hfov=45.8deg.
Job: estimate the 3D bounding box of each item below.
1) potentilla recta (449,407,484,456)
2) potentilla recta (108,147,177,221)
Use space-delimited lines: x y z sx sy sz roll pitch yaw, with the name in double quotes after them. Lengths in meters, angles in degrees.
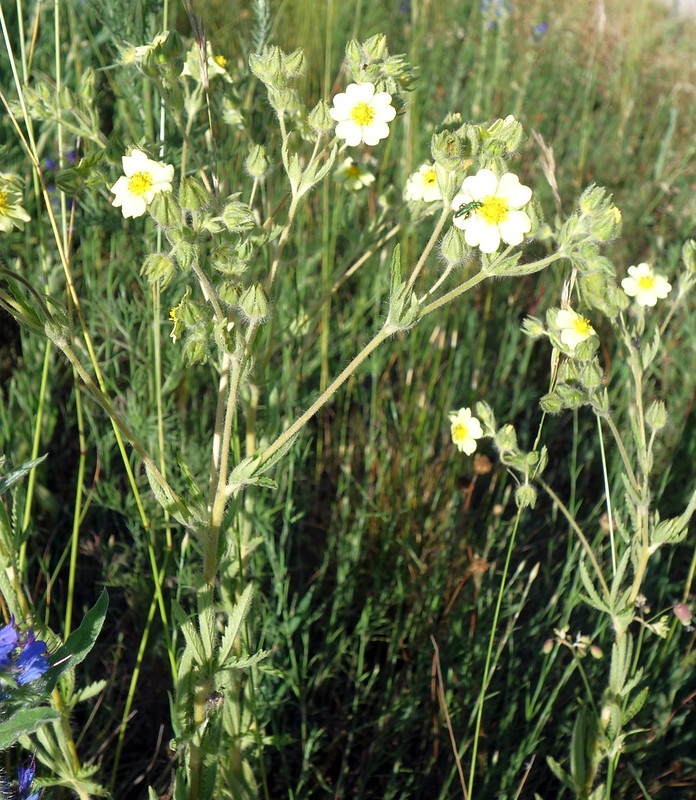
0.258 0.061 1.732 0.019 0.096 0.090 -5 44 -33 "potentilla recta"
-0.336 -0.354 1.329 0.127 0.052 0.137 -26 21 -30 "potentilla recta"
